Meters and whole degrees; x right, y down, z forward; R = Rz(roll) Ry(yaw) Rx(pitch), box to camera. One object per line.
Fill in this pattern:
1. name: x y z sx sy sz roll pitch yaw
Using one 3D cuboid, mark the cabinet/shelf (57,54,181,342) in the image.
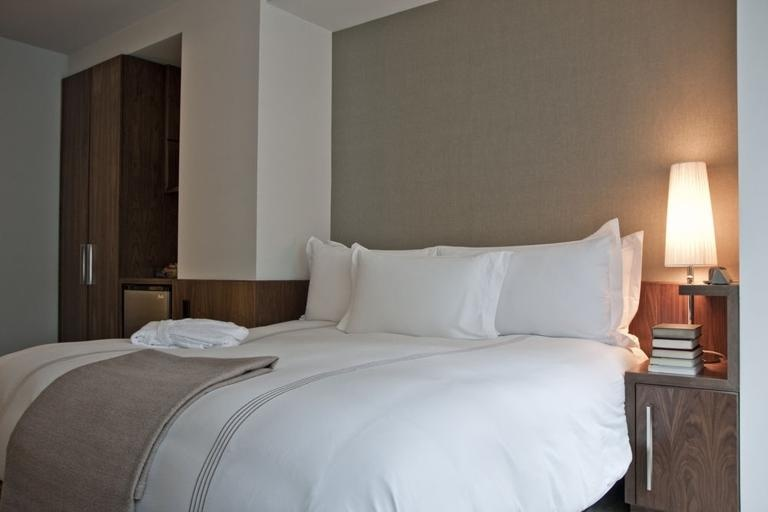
1. cabinet/shelf: -2.441 -0.473 5.289 1.259 2.357 0.563 -1 0 22
